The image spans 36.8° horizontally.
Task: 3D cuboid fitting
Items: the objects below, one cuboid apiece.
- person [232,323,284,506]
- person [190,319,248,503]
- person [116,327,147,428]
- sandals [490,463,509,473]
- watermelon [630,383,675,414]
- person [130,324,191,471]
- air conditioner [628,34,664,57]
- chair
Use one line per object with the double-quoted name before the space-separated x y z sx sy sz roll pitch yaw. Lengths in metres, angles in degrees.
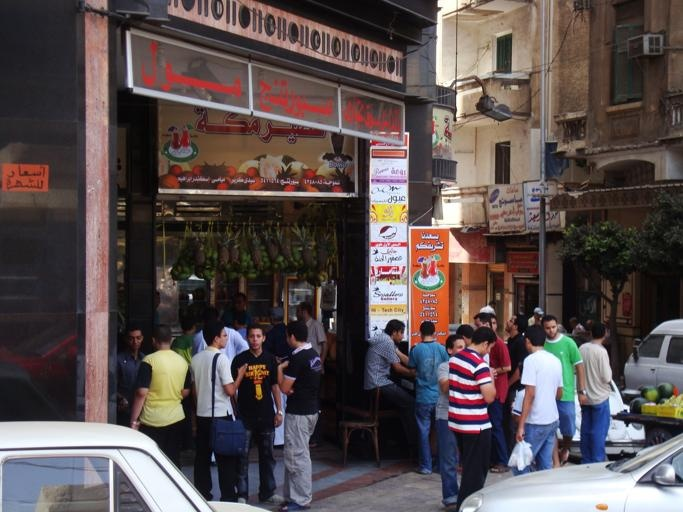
"person" -1.112 2.090 13.763 0.673 2.242 0.763 0 -1 -20
"person" -1.638 2.027 13.434 0.618 2.331 0.600 1 5 19
"person" -2.825 1.585 13.638 0.453 1.300 0.557 -2 4 -27
"sandals" 2.306 3.111 15.111 0.231 0.086 0.120 8 -8 -34
"watermelon" 4.858 2.194 16.034 0.741 0.399 0.363 -14 2 -39
"person" -2.377 2.062 13.194 0.743 2.407 0.651 -2 11 -36
"air conditioner" 7.294 -5.045 24.519 0.837 0.542 0.519 -2 -1 19
"chair" 0.261 2.528 15.360 0.616 1.110 0.645 4 6 -17
